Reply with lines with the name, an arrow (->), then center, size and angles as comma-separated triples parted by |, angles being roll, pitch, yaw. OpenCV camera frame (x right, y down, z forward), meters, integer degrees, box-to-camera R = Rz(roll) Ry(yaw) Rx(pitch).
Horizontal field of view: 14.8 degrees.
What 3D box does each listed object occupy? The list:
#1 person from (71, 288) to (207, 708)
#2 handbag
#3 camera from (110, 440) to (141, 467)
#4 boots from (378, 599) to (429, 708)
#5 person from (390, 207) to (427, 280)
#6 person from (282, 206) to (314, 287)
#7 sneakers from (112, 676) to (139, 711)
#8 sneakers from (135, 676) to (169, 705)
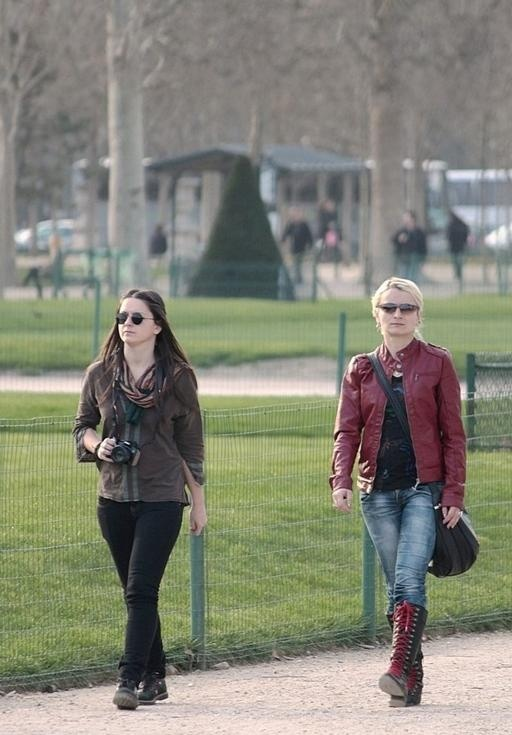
person -> -0.635, 0.658, 9.913 | 0.616, 1.997, 0.755 | 5, 12, 22
handbag -> 0.987, 0.847, 9.945 | 0.243, 0.487, 0.184 | 2, 11, 6
camera -> -0.645, 0.432, 9.693 | 0.119, 0.121, 0.098 | 4, 4, 14
boots -> 0.726, 1.441, 9.852 | 0.199, 0.524, 0.274 | 3, 11, 13
person -> 1.622, -1.272, 20.964 | 0.288, 0.844, 0.586 | 5, 12, 23
person -> 0.448, -1.257, 20.762 | 0.288, 0.853, 0.337 | 5, 12, 25
sneakers -> -0.652, 1.627, 9.700 | 0.069, 0.111, 0.217 | 2, -20, 4
sneakers -> -0.525, 1.645, 9.931 | 0.068, 0.111, 0.195 | -3, -7, 25
